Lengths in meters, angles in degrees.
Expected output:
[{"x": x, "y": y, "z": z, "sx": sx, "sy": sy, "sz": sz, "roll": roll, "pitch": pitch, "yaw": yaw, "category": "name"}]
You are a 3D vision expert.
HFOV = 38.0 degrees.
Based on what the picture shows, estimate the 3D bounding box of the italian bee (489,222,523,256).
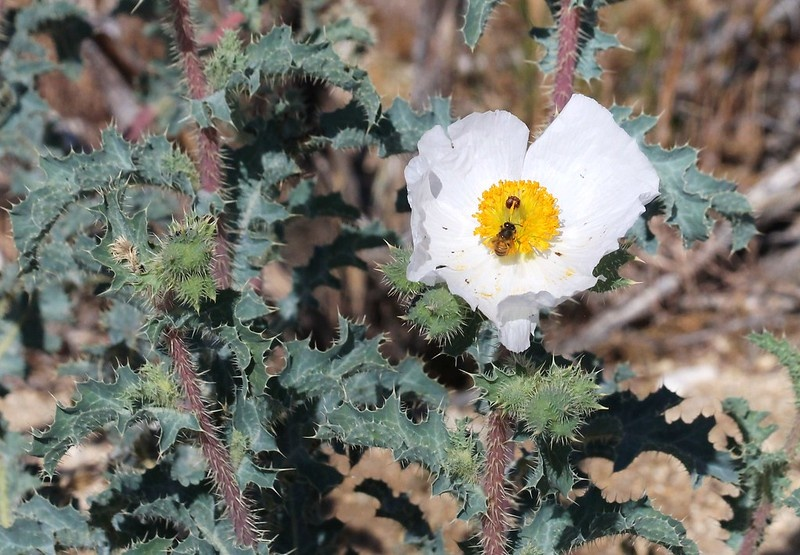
[{"x": 0.338, "y": -0.137, "z": 3.897, "sx": 0.101, "sy": 0.059, "sz": 0.173, "roll": 11, "pitch": -19, "yaw": 5, "category": "italian bee"}]

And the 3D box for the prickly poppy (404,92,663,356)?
[{"x": 0.458, "y": -0.213, "z": 3.848, "sx": 0.814, "sy": 0.674, "sz": 0.403, "roll": -17, "pitch": 23, "yaw": -6, "category": "prickly poppy"}]
